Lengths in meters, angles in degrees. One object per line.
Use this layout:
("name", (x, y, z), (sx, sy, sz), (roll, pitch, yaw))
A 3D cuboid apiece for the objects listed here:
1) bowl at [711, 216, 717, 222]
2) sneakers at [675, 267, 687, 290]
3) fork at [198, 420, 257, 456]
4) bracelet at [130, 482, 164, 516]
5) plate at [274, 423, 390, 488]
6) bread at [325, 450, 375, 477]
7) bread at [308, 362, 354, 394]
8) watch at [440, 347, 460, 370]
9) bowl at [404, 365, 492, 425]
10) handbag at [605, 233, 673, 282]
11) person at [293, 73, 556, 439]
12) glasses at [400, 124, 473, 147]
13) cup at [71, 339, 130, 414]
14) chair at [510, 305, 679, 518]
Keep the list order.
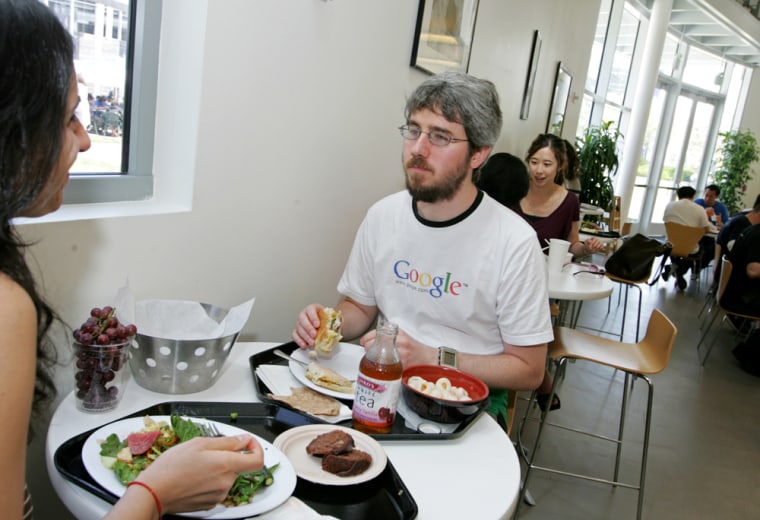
("bowl", (5.639, -0.695, 8.575), (0.107, 0.087, 0.111), (-6, 21, 2))
("sneakers", (4.376, 0.262, 7.396), (0.147, 0.379, 0.184), (-18, 32, 3))
("fork", (-0.391, 0.452, 1.312), (0.053, 0.031, 0.215), (-24, -17, 7))
("bracelet", (-0.473, 0.483, 1.036), (0.071, 0.065, 0.016), (10, 17, 16))
("plate", (-0.114, 0.486, 1.248), (0.153, 0.024, 0.158), (12, 24, 2))
("bread", (-0.077, 0.472, 1.226), (0.083, 0.031, 0.059), (-4, 8, -42))
("bread", (-0.145, 0.359, 1.528), (0.090, 0.029, 0.094), (24, 1, -5))
("watch", (0.216, 0.305, 1.587), (0.059, 0.064, 0.062), (6, -12, -5))
("bowl", (0.230, 0.391, 1.488), (0.166, 0.071, 0.180), (8, 20, -3))
("handbag", (2.303, -0.001, 4.576), (0.248, 0.469, 0.460), (12, 13, -27))
("person", (0.193, -0.007, 1.882), (0.830, 1.253, 0.698), (7, 3, 31))
("glasses", (0.165, -0.434, 1.779), (0.277, 0.064, 0.121), (18, 21, 36))
("cup", (-0.739, 0.297, 1.380), (0.163, 0.215, 0.148), (4, 0, 0))
("chair", (1.217, 0.899, 2.862), (0.652, 1.236, 0.632), (15, 17, 4))
